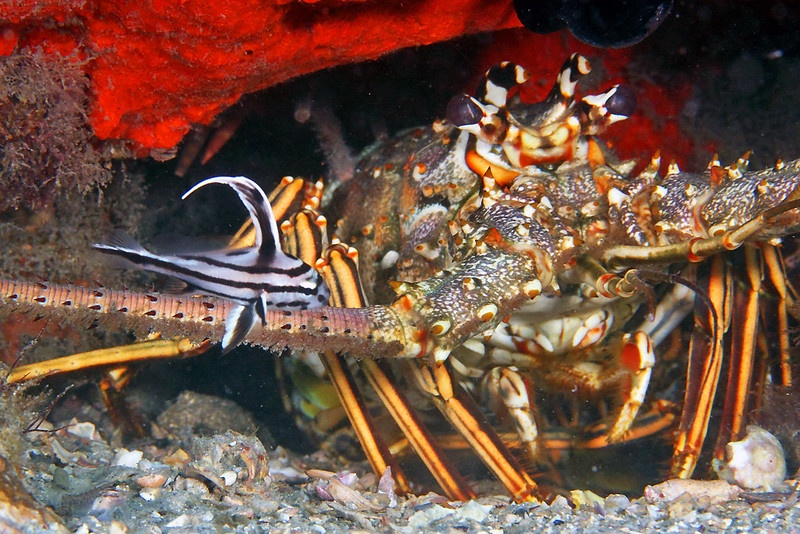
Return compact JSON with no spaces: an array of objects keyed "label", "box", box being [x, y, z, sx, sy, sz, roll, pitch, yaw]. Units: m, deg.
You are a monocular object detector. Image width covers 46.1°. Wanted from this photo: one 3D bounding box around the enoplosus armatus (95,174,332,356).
[{"label":"enoplosus armatus","box":[-0.800,-0.117,4.348,1.004,0.599,0.287,3,5,-9]}]
